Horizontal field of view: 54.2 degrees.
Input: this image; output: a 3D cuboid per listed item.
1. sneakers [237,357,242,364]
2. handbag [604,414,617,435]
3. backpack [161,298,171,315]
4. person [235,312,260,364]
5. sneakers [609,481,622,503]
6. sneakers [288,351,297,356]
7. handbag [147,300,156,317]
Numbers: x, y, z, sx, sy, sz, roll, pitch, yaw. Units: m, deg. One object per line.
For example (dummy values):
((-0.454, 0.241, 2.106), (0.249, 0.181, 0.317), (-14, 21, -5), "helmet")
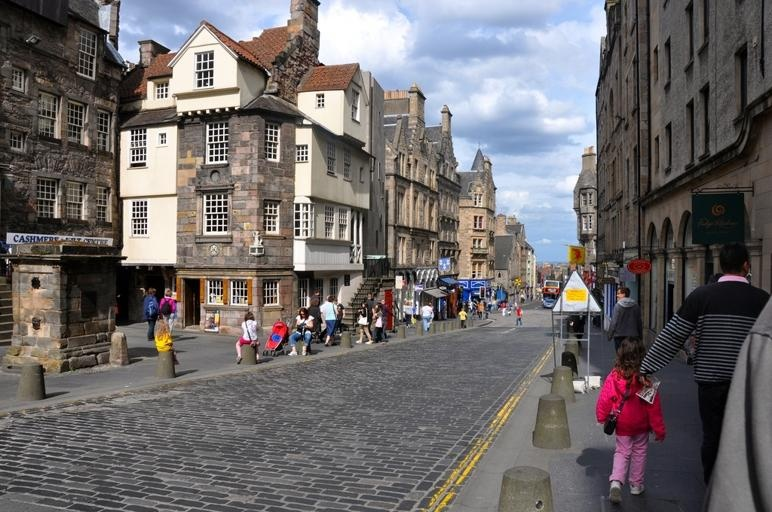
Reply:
((-5.057, 3.602, 25.863), (0.105, 0.163, 0.149), (2, 5, 15), "sneakers")
((4.547, 3.392, 15.257), (0.134, 0.310, 0.392), (15, -38, -5), "handbag")
((-8.844, 2.099, 30.290), (0.403, 0.681, 0.961), (-1, 5, -16), "backpack")
((-4.816, 2.855, 26.368), (0.967, 1.697, 0.982), (-7, -13, 32), "person")
((4.617, 4.750, 15.119), (0.179, 0.503, 0.219), (2, 26, 8), "sneakers")
((-3.515, 3.684, 28.401), (0.136, 0.136, 0.299), (-6, -11, 43), "sneakers")
((-9.246, 2.102, 29.712), (0.401, 0.668, 0.378), (-1, 5, -19), "handbag")
